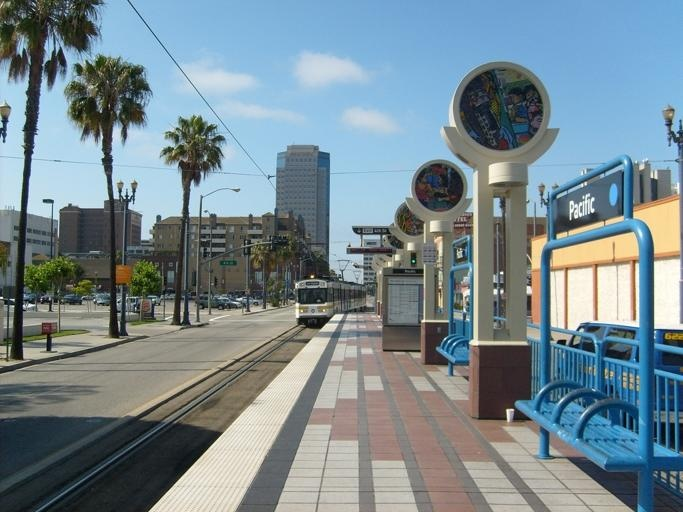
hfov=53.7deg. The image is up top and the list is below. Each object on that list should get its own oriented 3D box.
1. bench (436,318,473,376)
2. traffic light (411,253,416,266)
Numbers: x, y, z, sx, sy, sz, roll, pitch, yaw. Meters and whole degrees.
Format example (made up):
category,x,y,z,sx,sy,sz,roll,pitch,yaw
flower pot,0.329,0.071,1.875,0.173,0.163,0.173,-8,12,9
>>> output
category,x,y,z,sx,sy,sz,roll,pitch,yaw
bench,2.887,2.328,17.361,0.763,1.701,0.988,0,1,6
traffic light,2.562,0.122,23.826,0.191,0.449,0.251,1,-4,6
